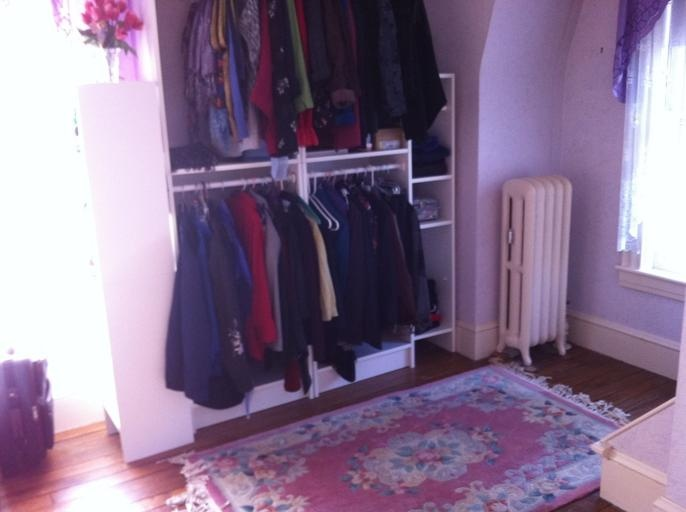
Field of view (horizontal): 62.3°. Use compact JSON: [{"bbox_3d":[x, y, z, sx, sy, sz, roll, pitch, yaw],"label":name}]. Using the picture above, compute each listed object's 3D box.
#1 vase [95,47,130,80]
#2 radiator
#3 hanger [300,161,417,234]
[{"bbox_3d":[-1.231,-1.080,3.147,0.116,0.141,0.219,-2,15,-28],"label":"vase"},{"bbox_3d":[1.343,0.084,3.967,0.549,1.279,0.368,-16,19,-33],"label":"radiator"},{"bbox_3d":[0.135,-0.269,3.901,0.759,0.490,0.278,-5,7,-29],"label":"hanger"}]
